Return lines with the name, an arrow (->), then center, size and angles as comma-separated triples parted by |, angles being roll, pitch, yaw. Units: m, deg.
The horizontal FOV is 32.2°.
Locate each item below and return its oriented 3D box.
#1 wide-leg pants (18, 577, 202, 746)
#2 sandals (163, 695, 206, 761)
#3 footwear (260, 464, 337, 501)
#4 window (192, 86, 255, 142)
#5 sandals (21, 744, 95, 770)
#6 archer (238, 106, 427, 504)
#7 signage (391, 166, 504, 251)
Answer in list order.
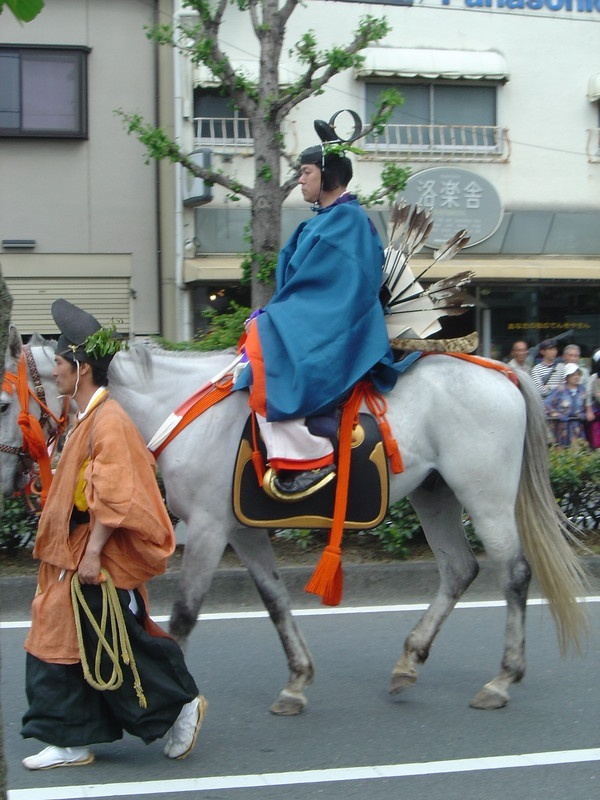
wide-leg pants -> -0.782, 1.072, 4.295 | 0.880, 0.650, 0.302 | -13, -20, 22
sandals -> -0.479, 1.398, 4.467 | 0.155, 0.291, 0.138 | 13, 9, -37
footwear -> 0.000, 0.372, 4.776 | 0.272, 0.080, 0.179 | -9, 0, -21
window -> -1.087, -3.885, 14.234 | 0.017, 0.777, 0.986 | 9, 18, 44
sandals -> -0.999, 1.488, 4.340 | 0.325, 0.098, 0.101 | 2, 2, -14
archer -> 0.116, -0.457, 4.927 | 0.740, 1.808, 0.809 | 3, 8, 15
signage -> 2.027, -2.733, 14.557 | 1.937, 1.122, 0.196 | -6, 11, -32
